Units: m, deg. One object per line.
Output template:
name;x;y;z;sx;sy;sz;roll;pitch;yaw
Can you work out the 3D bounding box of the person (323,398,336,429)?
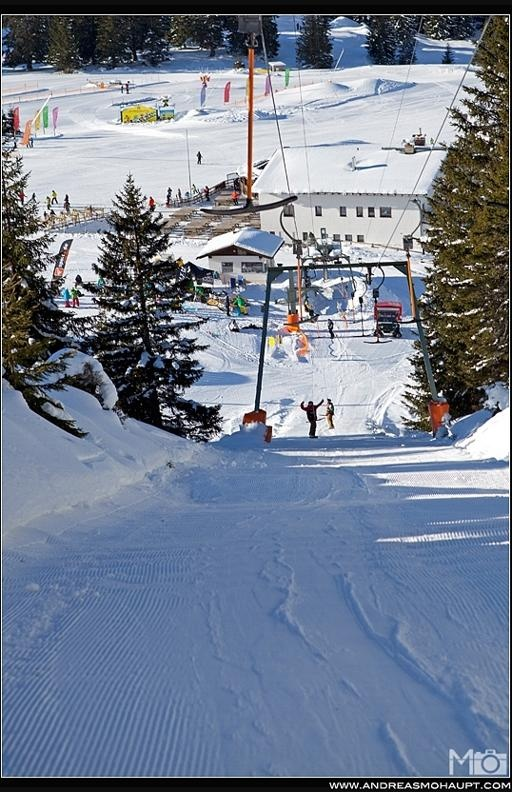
person;2.899;0.746;26.484;0.538;1.831;0.864;0;-10;9
